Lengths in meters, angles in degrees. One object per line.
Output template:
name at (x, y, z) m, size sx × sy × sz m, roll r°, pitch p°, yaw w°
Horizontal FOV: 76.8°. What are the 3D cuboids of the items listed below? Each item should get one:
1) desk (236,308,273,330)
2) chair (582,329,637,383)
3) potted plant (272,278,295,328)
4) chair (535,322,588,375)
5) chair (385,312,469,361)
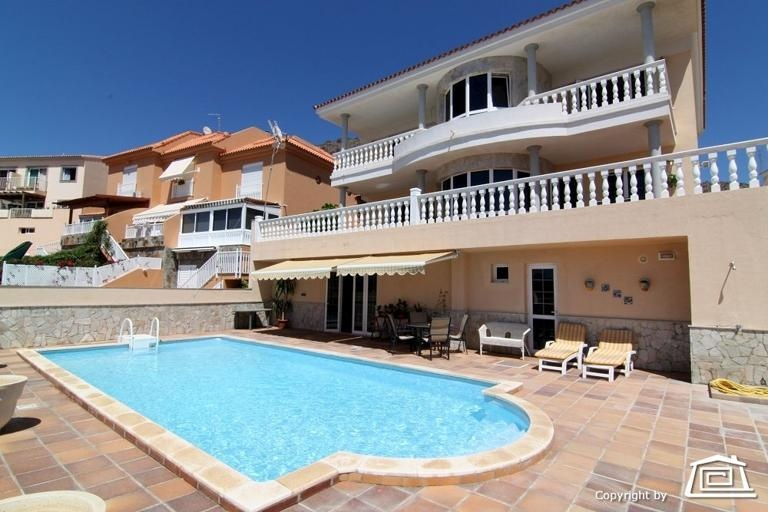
desk at (-7.956, 3.693, 28.601) m, size 1.059 × 0.921 × 2.020 m, roll 1°, pitch -1°, yaw 29°
chair at (8.645, 3.735, 18.696) m, size 1.516 × 1.757 × 2.638 m, roll -2°, pitch -5°, yaw 38°
potted plant at (-6.192, 2.846, 29.187) m, size 1.468 × 2.808 × 0.703 m, roll -2°, pitch -5°, yaw 33°
chair at (7.113, 3.662, 19.424) m, size 1.524 × 1.548 × 2.274 m, roll -2°, pitch 2°, yaw 43°
chair at (2.047, 3.551, 22.089) m, size 1.833 × 1.602 × 3.092 m, roll 2°, pitch -4°, yaw -31°
